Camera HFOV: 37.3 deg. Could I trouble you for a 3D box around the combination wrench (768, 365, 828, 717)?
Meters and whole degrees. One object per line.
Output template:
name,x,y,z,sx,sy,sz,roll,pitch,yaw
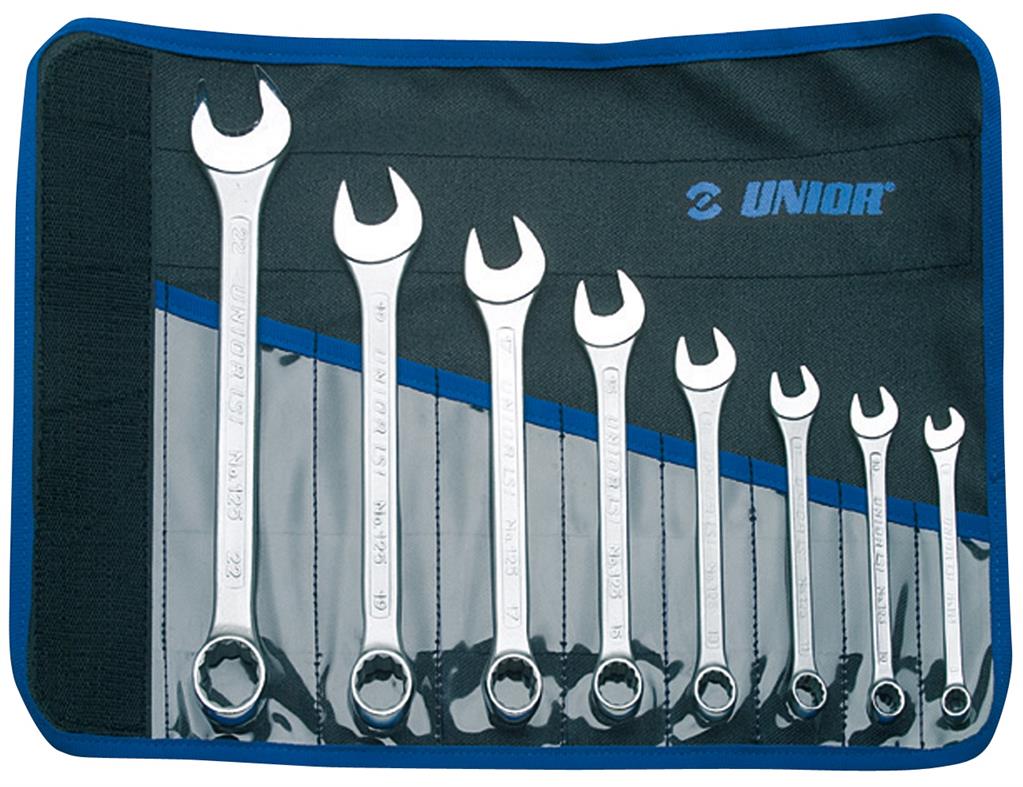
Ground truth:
combination wrench,0.434,0.220,2.291,0.071,0.062,0.512,0,-93,-2

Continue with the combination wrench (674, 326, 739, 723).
combination wrench,0.294,0.189,2.239,0.082,0.054,0.559,-3,-96,5

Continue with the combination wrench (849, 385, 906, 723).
combination wrench,0.556,0.246,2.300,0.070,0.063,0.487,-3,-98,8

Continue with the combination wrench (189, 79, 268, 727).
combination wrench,-0.411,0.040,2.198,0.126,0.041,0.867,-3,-95,-4

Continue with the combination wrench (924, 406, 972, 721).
combination wrench,0.666,0.267,2.306,0.057,0.057,0.452,-1,-93,1
